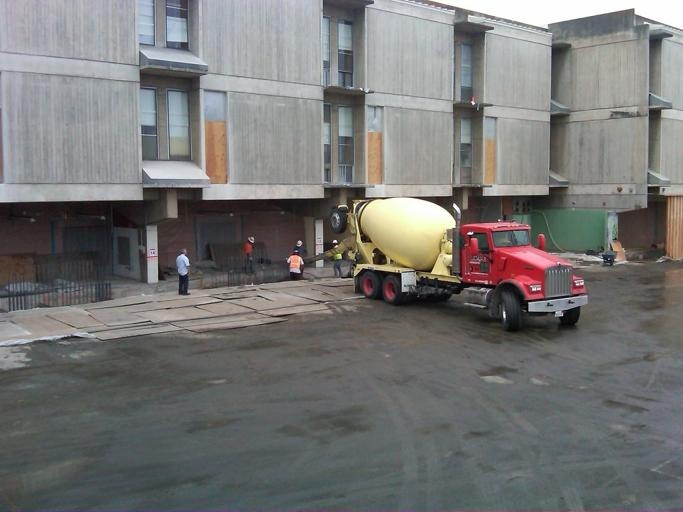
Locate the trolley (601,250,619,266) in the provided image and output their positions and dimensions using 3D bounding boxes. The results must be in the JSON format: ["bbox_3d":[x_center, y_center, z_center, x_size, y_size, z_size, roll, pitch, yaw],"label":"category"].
[{"bbox_3d":[16.308,0.207,37.269,0.710,0.609,0.928,1,3,34],"label":"trolley"}]

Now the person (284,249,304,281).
[{"bbox_3d":[-2.260,0.474,30.073,0.613,1.463,0.977,-2,3,-9],"label":"person"}]

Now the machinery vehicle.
[{"bbox_3d":[4.110,-0.087,24.360,3.947,4.262,11.601,-5,8,-29],"label":"machinery vehicle"}]

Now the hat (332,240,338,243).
[{"bbox_3d":[-0.338,-0.718,30.502,0.246,0.155,0.403,-1,0,-3],"label":"hat"}]

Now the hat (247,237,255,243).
[{"bbox_3d":[-4.816,-0.834,32.317,0.441,0.365,0.420,2,7,2],"label":"hat"}]
